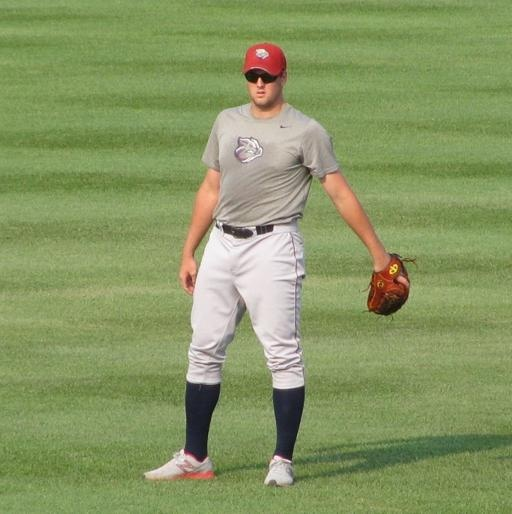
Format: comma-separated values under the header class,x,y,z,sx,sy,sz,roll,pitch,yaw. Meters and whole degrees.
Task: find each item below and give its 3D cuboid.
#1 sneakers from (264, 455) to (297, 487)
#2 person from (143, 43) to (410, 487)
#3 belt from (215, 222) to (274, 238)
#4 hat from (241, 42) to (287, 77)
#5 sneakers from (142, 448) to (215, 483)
class,x,y,z,sx,sy,sz,roll,pitch,yaw
sneakers,0.141,1.249,8.305,0.161,0.140,0.344,3,-1,2
person,0.084,0.119,8.273,1.167,2.600,0.468,9,12,13
belt,-0.067,-0.151,8.216,0.335,0.106,0.049,11,13,17
hat,0.036,-1.144,8.233,0.220,0.171,0.314,9,25,4
sneakers,-0.448,1.233,8.390,0.429,0.212,0.153,1,-5,0
